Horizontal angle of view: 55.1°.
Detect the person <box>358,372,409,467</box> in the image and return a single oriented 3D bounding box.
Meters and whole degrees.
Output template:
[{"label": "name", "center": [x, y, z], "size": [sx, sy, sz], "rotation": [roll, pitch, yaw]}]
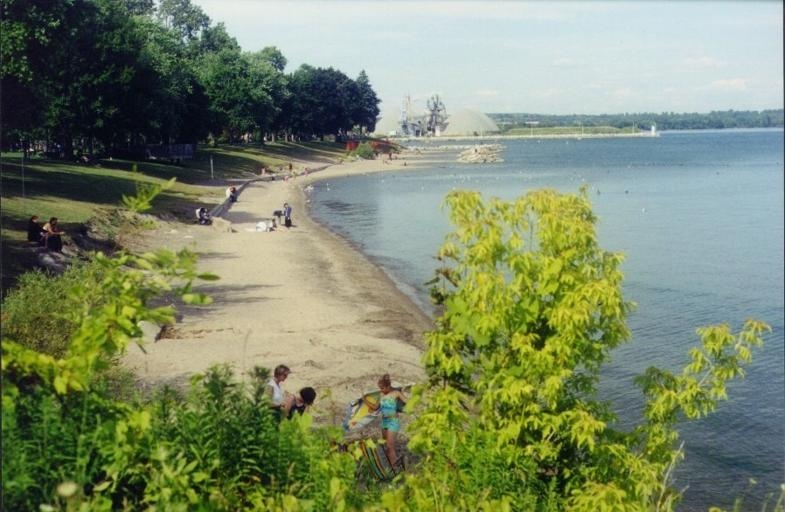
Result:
[{"label": "person", "center": [-0.210, 3.895, 17.589], "size": [0.989, 2.352, 0.948], "rotation": [-29, -37, 26]}]
